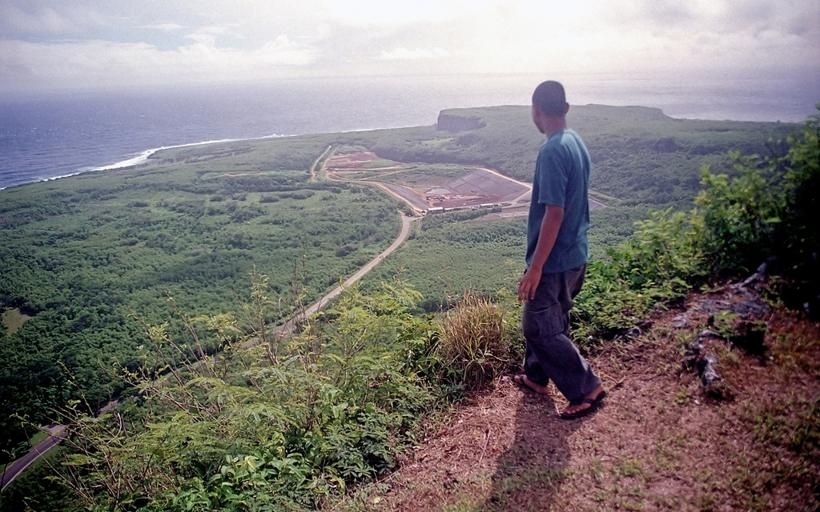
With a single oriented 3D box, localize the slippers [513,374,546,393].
[{"bbox_3d":[1.354,1.443,5.216,0.143,0.090,0.367,-4,10,-45],"label":"slippers"}]
